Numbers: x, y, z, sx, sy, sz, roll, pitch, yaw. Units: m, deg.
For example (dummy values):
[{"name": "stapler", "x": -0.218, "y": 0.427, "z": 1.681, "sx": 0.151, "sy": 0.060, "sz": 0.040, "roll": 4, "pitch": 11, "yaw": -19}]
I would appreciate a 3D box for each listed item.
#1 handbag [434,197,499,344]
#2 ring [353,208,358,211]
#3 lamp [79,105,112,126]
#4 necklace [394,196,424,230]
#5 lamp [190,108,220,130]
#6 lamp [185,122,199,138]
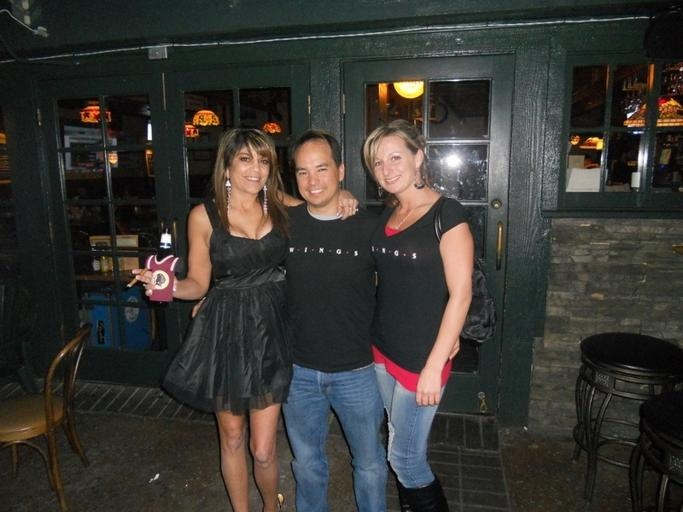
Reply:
[{"name": "handbag", "x": 0.784, "y": 0.108, "z": 3.069, "sx": 0.200, "sy": 0.800, "sz": 0.470, "roll": -6, "pitch": -2, "yaw": -18}, {"name": "ring", "x": 0.091, "y": -0.291, "z": 3.223, "sx": 0.026, "sy": 0.015, "sz": 0.025, "roll": 6, "pitch": 15, "yaw": -2}, {"name": "lamp", "x": -2.409, "y": -1.313, "z": 4.905, "sx": 0.248, "sy": 0.146, "sz": 0.242, "roll": -1, "pitch": 12, "yaw": -9}, {"name": "necklace", "x": 0.386, "y": -0.263, "z": 3.127, "sx": 0.065, "sy": 0.069, "sz": 0.232, "roll": 26, "pitch": 41, "yaw": -3}, {"name": "lamp", "x": -1.347, "y": -1.342, "z": 4.981, "sx": 0.244, "sy": 0.138, "sz": 0.245, "roll": -1, "pitch": 4, "yaw": 18}, {"name": "lamp", "x": -1.406, "y": -1.158, "z": 4.716, "sx": 0.137, "sy": 0.125, "sz": 0.131, "roll": 0, "pitch": -1, "yaw": -37}]
